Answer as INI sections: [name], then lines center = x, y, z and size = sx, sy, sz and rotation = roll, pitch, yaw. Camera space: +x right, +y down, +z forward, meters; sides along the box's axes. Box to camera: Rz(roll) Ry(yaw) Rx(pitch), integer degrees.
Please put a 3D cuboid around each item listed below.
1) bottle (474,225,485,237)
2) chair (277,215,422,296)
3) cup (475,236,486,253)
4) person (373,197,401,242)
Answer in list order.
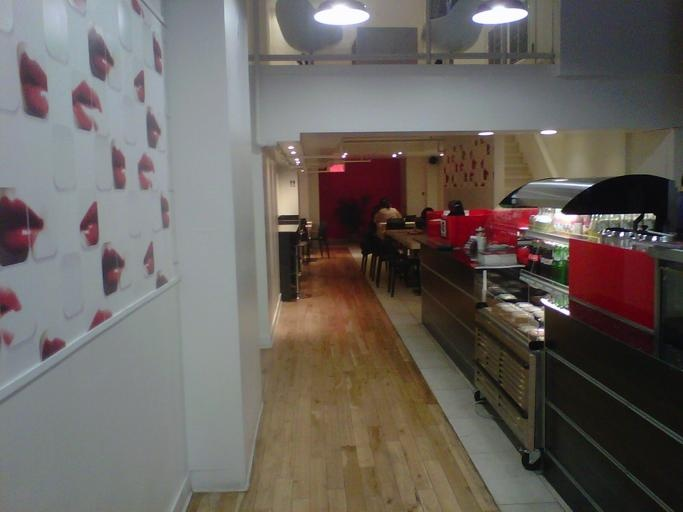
[bottle]
center = 1.430, -0.266, 5.173
size = 0.128, 0.143, 0.139
rotation = 0, 5, 11
[chair]
center = 0.629, -0.181, 10.322
size = 2.127, 1.071, 4.435
rotation = -6, 11, -26
[cup]
center = 1.336, -0.119, 4.781
size = 0.133, 0.176, 0.143
rotation = -1, 5, 0
[person]
center = 1.144, -0.672, 12.045
size = 0.594, 1.389, 0.759
rotation = -1, -13, -9
